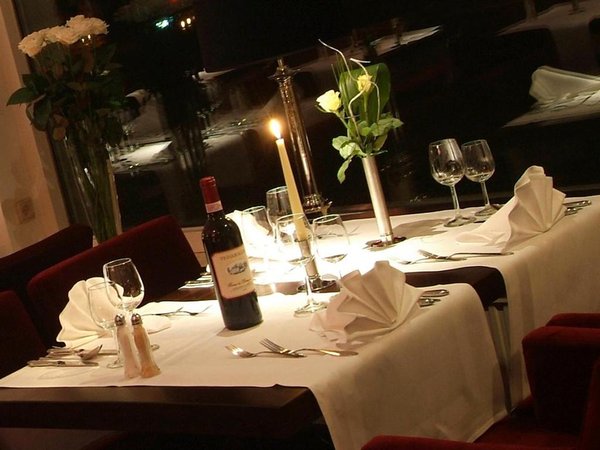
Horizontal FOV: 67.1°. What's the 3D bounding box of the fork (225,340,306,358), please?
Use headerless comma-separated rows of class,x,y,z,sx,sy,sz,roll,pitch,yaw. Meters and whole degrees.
fork,-0.072,0.278,1.004,0.142,0.021,0.032,-4,16,38

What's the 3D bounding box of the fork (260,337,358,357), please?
fork,0.024,0.262,0.965,0.198,0.030,0.028,-7,10,29

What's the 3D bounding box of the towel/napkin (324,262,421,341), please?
towel/napkin,0.148,0.159,0.980,0.243,0.138,0.112,-14,9,1

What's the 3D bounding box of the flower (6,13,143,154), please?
flower,-1.504,-0.890,2.955,0.663,0.746,0.239,-16,10,-15

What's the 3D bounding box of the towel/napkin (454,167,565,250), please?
towel/napkin,0.624,-0.036,1.297,0.285,0.127,0.220,-33,22,-5

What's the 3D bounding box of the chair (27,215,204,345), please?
chair,-0.709,0.202,1.722,0.256,0.248,0.533,-25,10,48
